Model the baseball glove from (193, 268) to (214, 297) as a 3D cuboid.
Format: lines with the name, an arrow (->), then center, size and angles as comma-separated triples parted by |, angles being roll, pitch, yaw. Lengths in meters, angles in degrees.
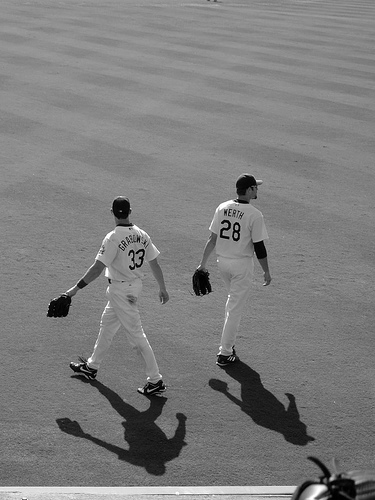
baseball glove -> 0.142, 0.317, 8.260 | 0.204, 0.232, 0.096 | 0, 14, 10

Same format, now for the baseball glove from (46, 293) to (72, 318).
baseball glove -> -1.091, 0.474, 7.388 | 0.211, 0.189, 0.086 | -9, -21, 28

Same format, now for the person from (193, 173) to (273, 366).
person -> 0.483, 0.164, 7.982 | 0.521, 1.697, 0.771 | 5, 18, -22

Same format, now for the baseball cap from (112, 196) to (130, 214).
baseball cap -> -0.549, -0.382, 7.301 | 0.141, 0.118, 0.192 | 8, 16, -7

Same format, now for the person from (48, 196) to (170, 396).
person -> -0.584, 0.369, 7.423 | 1.086, 1.626, 0.781 | 8, 17, -8

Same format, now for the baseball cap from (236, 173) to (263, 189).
baseball cap -> 0.593, -0.621, 7.925 | 0.232, 0.108, 0.143 | -21, 22, -21
